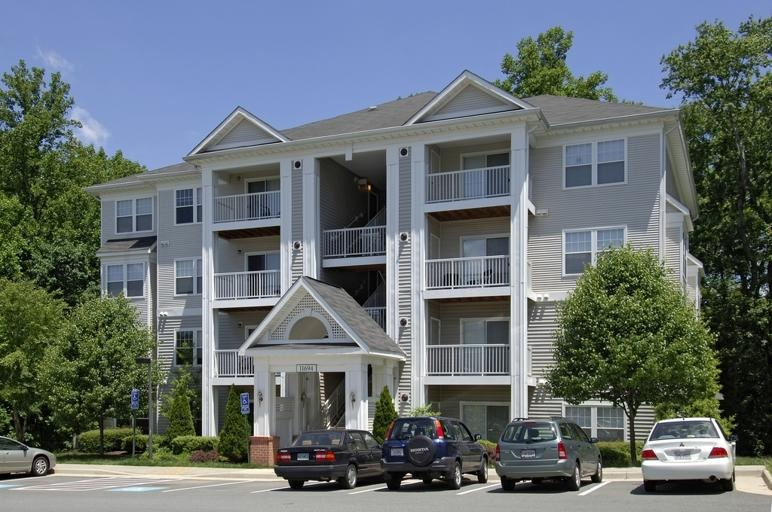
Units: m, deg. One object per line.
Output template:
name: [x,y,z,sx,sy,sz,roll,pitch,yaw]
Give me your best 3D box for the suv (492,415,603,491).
suv: [7.455,8.703,52.629,3.627,2.931,7.762,-4,-8,20]
